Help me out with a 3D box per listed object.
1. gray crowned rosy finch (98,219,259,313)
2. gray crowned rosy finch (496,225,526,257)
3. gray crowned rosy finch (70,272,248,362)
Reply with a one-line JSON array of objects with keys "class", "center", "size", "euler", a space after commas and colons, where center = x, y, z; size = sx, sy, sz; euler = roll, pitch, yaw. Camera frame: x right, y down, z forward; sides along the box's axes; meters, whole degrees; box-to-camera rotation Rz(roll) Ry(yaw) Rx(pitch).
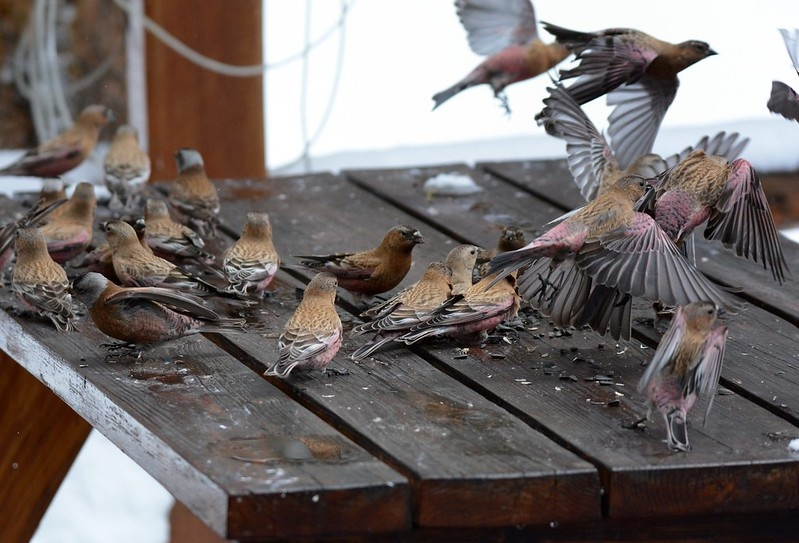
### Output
[{"class": "gray crowned rosy finch", "center": [-0.837, -0.009, 2.939], "size": [0.634, 0.335, 0.169], "euler": [5, 14, -1]}, {"class": "gray crowned rosy finch", "center": [0.431, -0.137, 3.070], "size": [0.093, 0.101, 0.150], "euler": [6, 28, -2]}, {"class": "gray crowned rosy finch", "center": [-0.757, 0.130, 2.620], "size": [0.719, 0.310, 0.233], "euler": [4, 12, -5]}]
